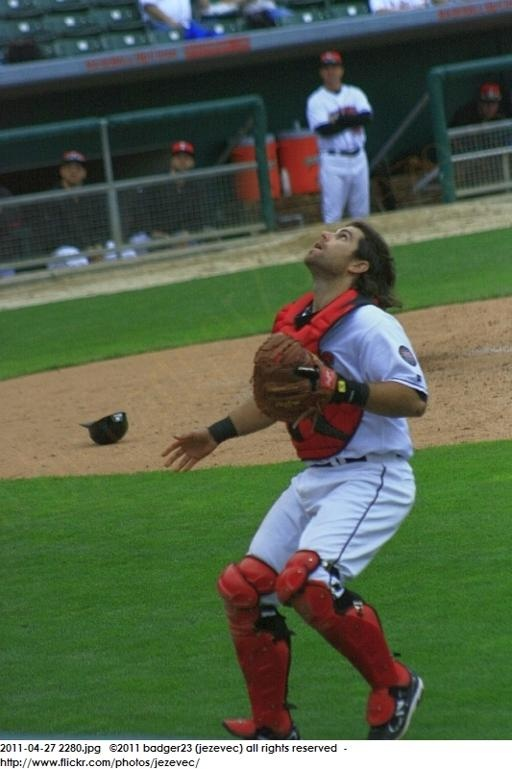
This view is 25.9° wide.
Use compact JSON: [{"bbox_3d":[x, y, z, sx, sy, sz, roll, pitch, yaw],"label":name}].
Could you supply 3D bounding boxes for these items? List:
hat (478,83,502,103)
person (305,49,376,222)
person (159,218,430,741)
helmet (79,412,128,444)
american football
[{"bbox_3d":[1.374,-1.729,6.490,0.124,0.096,0.177,-3,15,3],"label":"hat"},{"bbox_3d":[0.456,-1.370,5.972,0.354,0.988,0.715,-10,5,5],"label":"person"},{"bbox_3d":[0.214,0.218,2.721,0.674,1.254,0.399,-14,7,-35],"label":"person"},{"bbox_3d":[-0.661,0.177,4.893,0.154,0.084,0.174,-14,8,-26],"label":"helmet"},{"bbox_3d":[0.099,-0.022,2.599,0.137,0.172,0.137,-44,35,4],"label":"american football"}]
